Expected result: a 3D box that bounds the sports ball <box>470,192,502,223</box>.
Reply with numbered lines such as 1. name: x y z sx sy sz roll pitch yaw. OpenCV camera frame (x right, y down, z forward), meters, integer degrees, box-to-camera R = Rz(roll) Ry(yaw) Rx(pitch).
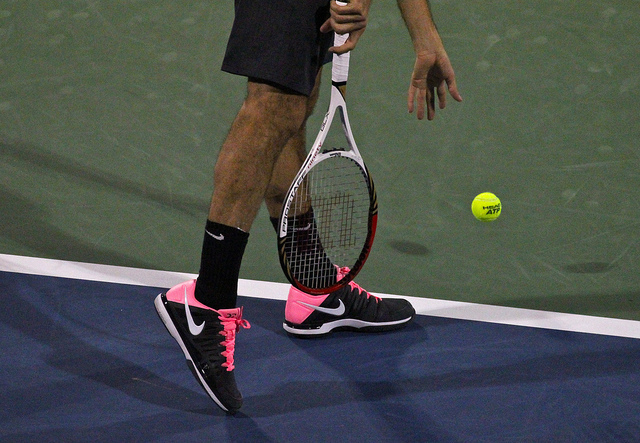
1. sports ball: 0.710 -0.063 3.110 0.145 0.133 0.141 -2 12 0
